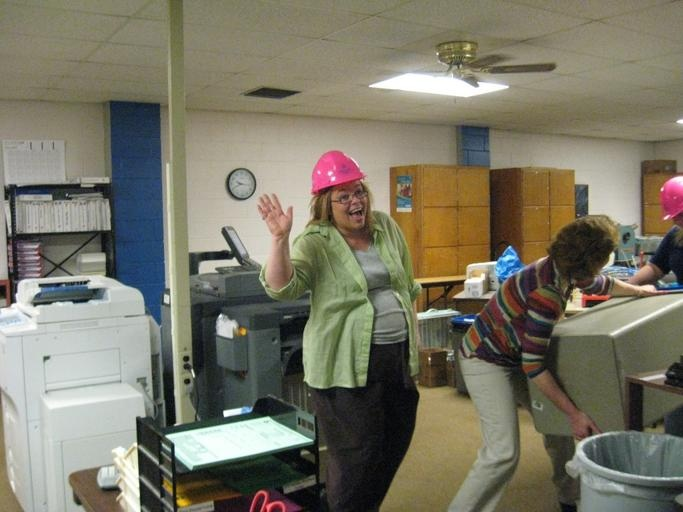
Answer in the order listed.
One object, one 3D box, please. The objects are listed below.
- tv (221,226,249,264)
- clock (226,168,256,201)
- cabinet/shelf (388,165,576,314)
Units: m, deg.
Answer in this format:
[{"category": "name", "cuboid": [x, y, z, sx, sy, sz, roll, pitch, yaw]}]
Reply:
[{"category": "tv", "cuboid": [-0.993, -0.111, 5.427, 0.127, 0.470, 0.112, -18, -22, -42]}, {"category": "clock", "cuboid": [-1.222, -0.885, 7.227, 0.368, 0.373, 0.084, -10, 10, -39]}, {"category": "cabinet/shelf", "cuboid": [1.439, -0.261, 6.557, 2.006, 1.810, 0.641, -1, 2, -36]}]
